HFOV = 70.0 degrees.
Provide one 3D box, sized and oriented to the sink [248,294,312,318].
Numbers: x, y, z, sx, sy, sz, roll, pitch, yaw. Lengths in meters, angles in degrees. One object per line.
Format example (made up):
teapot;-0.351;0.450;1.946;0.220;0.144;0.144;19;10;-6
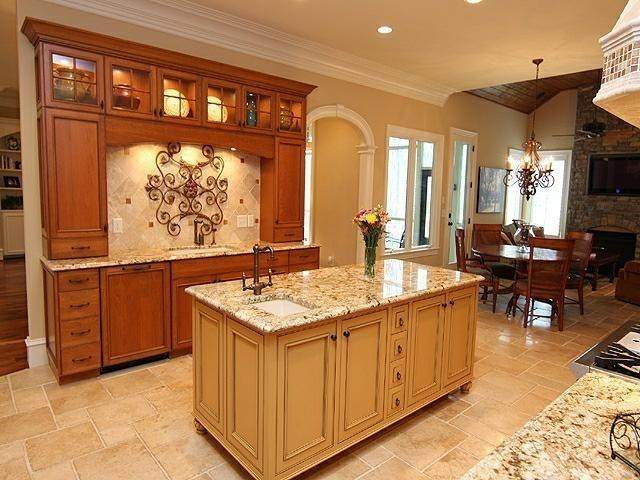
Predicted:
sink;-0.330;0.500;3.440;0.260;0.101;0.196;-3;12;-43

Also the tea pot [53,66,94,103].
tea pot;-2.264;-1.405;4.205;0.267;0.383;0.430;-2;9;-41

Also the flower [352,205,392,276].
flower;0.452;-0.008;4.067;0.301;0.624;0.314;2;13;5

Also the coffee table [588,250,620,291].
coffee table;5.097;0.549;8.222;0.551;0.459;0.544;-14;18;-39
